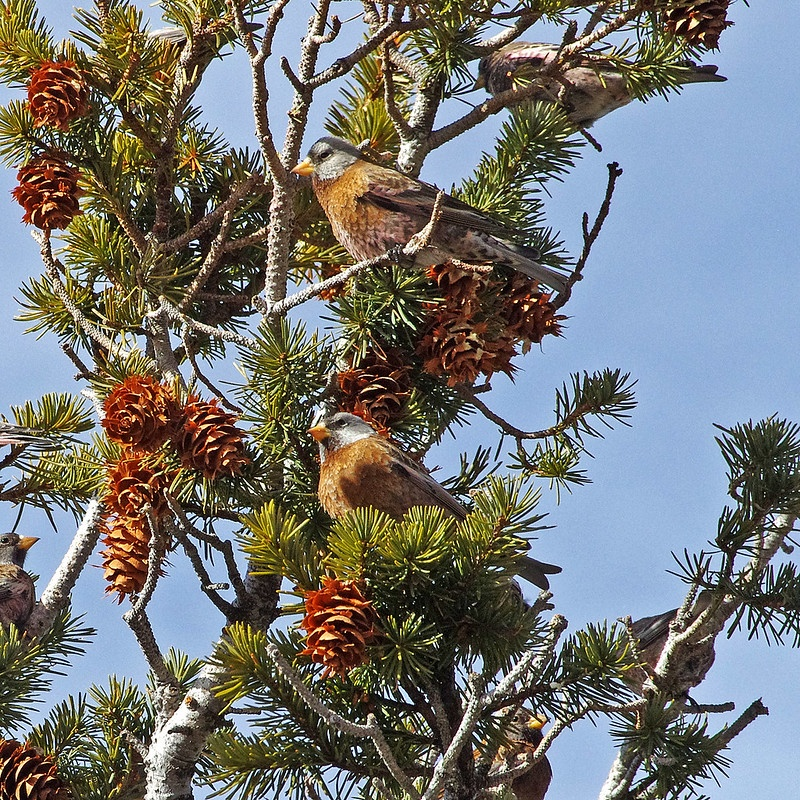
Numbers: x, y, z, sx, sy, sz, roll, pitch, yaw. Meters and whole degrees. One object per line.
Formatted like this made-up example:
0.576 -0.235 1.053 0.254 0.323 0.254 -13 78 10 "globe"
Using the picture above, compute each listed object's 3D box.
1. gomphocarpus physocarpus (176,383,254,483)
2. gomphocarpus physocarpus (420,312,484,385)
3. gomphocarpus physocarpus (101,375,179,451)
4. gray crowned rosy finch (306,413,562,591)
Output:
-0.590 0.119 5.984 0.238 0.204 0.220 32 -52 49 "gomphocarpus physocarpus"
0.172 -0.157 6.561 0.232 0.150 0.223 5 -57 15 "gomphocarpus physocarpus"
-0.861 0.076 6.371 0.228 0.239 0.251 -22 -94 4 "gomphocarpus physocarpus"
-0.071 0.263 6.367 0.562 0.444 0.309 19 -53 5 "gray crowned rosy finch"
